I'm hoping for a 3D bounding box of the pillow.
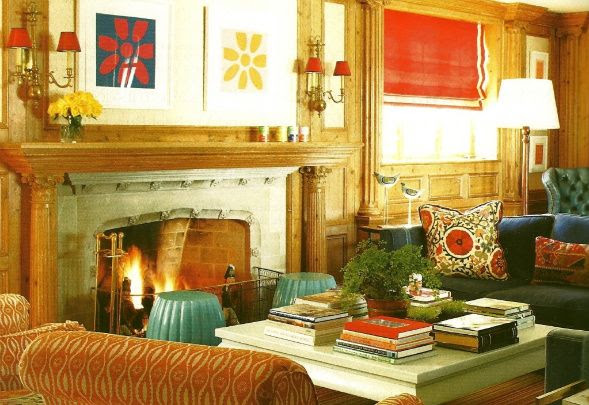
[{"bbox_3d":[1.705,0.389,4.725,0.856,0.849,0.261,-8,-7,15],"label":"pillow"}]

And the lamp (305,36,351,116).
[{"bbox_3d":[0.367,-1.291,5.228,0.682,0.787,0.325,-4,4,-40],"label":"lamp"}]

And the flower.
[{"bbox_3d":[-1.594,-0.629,3.970,0.376,0.387,0.389,0,4,18],"label":"flower"}]

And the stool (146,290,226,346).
[{"bbox_3d":[-0.774,0.817,3.794,0.438,0.401,0.452,1,0,21],"label":"stool"}]

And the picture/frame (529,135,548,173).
[{"bbox_3d":[3.477,-0.707,7.426,0.566,0.794,0.080,-3,4,-44],"label":"picture/frame"}]

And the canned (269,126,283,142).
[{"bbox_3d":[-0.174,-0.661,4.951,0.082,0.144,0.149,-5,8,-32],"label":"canned"}]

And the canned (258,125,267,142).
[{"bbox_3d":[-0.284,-0.638,4.803,0.094,0.161,0.263,-2,3,-4],"label":"canned"}]

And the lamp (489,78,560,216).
[{"bbox_3d":[2.755,-0.661,6.186,0.681,1.640,1.225,0,3,26],"label":"lamp"}]

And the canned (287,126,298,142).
[{"bbox_3d":[-0.011,-0.652,4.906,0.110,0.142,0.057,-3,3,-26],"label":"canned"}]

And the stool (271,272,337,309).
[{"bbox_3d":[0.083,0.667,4.245,0.340,0.221,0.342,0,3,15],"label":"stool"}]

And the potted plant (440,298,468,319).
[{"bbox_3d":[0.936,0.627,3.087,0.104,0.061,0.111,-6,2,-38],"label":"potted plant"}]

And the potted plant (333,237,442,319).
[{"bbox_3d":[0.565,0.393,3.134,0.493,0.368,0.460,1,2,8],"label":"potted plant"}]

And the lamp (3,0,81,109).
[{"bbox_3d":[-1.868,-1.143,3.913,0.535,0.793,0.282,-2,3,-9],"label":"lamp"}]
